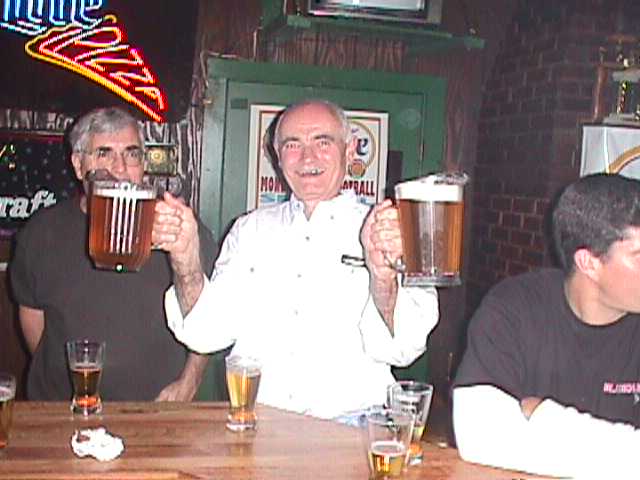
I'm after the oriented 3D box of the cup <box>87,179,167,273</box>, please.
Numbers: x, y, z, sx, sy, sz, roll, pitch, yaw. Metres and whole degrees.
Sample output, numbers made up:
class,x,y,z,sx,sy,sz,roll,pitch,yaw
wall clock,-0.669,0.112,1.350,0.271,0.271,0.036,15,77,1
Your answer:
class,x,y,z,sx,sy,sz,roll,pitch,yaw
cup,-0.717,-0.043,2.289,0.313,0.425,0.295,3,0,0
